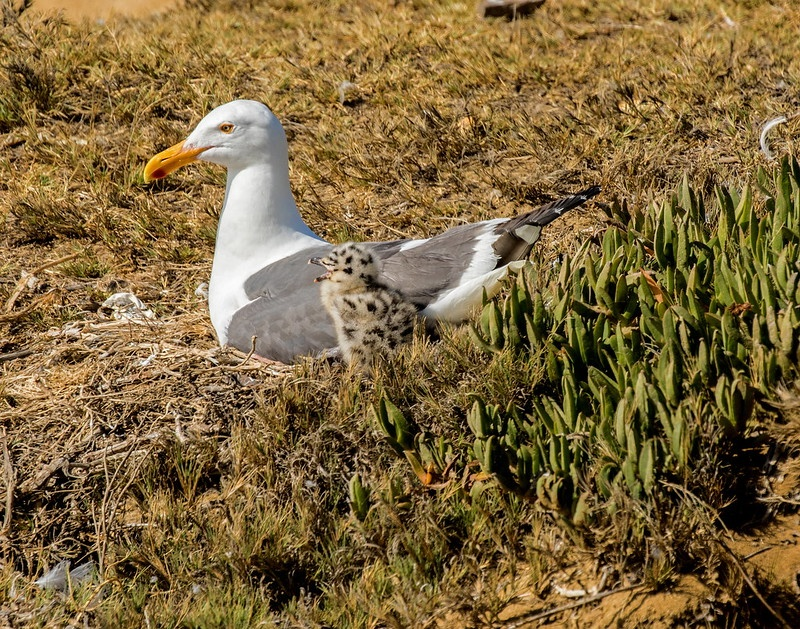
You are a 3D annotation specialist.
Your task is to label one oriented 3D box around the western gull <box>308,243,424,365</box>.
[{"bbox_3d":[-0.197,-0.100,6.514,0.606,0.730,0.508,-4,37,-13],"label":"western gull"}]
